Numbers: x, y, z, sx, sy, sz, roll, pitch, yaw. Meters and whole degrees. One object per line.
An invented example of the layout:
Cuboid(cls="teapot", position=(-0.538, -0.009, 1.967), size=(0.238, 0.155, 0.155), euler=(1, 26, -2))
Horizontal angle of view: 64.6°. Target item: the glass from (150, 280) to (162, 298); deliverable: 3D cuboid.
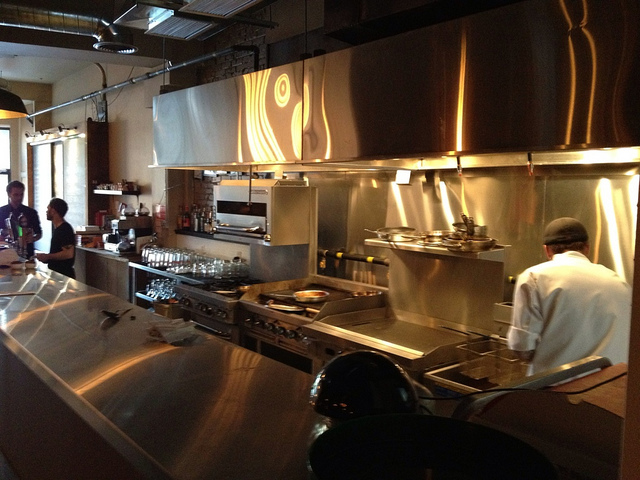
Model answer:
Cuboid(cls="glass", position=(-1.807, 0.542, 5.580), size=(0.114, 0.166, 0.181), euler=(-7, 10, -41))

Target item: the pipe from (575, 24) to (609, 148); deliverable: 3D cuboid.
Cuboid(cls="pipe", position=(1.166, -0.660, 2.142), size=(0.012, 0.501, 0.132), euler=(-6, 10, -40))

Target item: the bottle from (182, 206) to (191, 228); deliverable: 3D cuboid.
Cuboid(cls="bottle", position=(-1.743, -0.307, 6.626), size=(0.104, 0.267, 0.175), euler=(-2, 8, -14))

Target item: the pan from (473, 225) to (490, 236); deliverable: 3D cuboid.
Cuboid(cls="pan", position=(1.026, -0.060, 3.207), size=(0.079, 0.066, 0.087), euler=(6, 10, 35))

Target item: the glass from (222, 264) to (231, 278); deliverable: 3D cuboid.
Cuboid(cls="glass", position=(-0.957, 0.313, 5.203), size=(0.111, 0.111, 0.114), euler=(0, 2, 8))

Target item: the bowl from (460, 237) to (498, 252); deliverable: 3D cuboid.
Cuboid(cls="bowl", position=(0.991, 0.022, 3.100), size=(0.263, 0.076, 0.098), euler=(-3, 8, -18))

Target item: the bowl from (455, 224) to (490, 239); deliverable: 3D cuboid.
Cuboid(cls="bowl", position=(0.952, -0.048, 3.177), size=(0.191, 0.077, 0.171), euler=(2, 8, 15))

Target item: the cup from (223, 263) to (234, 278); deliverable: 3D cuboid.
Cuboid(cls="cup", position=(-0.945, 0.310, 5.213), size=(0.116, 0.130, 0.116), euler=(-1, -4, 0))

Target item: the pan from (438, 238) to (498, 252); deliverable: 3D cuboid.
Cuboid(cls="pan", position=(0.916, 0.024, 3.122), size=(0.340, 0.066, 0.204), euler=(2, 8, 16))

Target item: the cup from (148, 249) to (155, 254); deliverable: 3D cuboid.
Cuboid(cls="cup", position=(-2.078, 0.136, 6.264), size=(0.074, 0.077, 0.040), euler=(-1, -21, -6))

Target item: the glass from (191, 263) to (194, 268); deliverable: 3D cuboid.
Cuboid(cls="glass", position=(-1.432, 0.288, 5.683), size=(0.022, 0.041, 0.040), euler=(-4, 5, -25))

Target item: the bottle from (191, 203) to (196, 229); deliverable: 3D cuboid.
Cuboid(cls="bottle", position=(-1.633, -0.324, 6.549), size=(0.064, 0.299, 0.283), euler=(-2, 8, -15))

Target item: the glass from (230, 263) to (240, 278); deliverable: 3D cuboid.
Cuboid(cls="glass", position=(-0.873, 0.304, 5.244), size=(0.104, 0.203, 0.106), euler=(-1, -4, 16))

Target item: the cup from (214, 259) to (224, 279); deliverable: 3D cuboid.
Cuboid(cls="cup", position=(-1.052, 0.306, 5.278), size=(0.117, 0.207, 0.120), euler=(2, 3, 0))

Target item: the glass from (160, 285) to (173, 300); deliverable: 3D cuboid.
Cuboid(cls="glass", position=(-1.630, 0.554, 5.381), size=(0.093, 0.149, 0.219), euler=(-4, 9, -25))

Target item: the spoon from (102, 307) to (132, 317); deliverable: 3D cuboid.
Cuboid(cls="spoon", position=(-1.290, 0.450, 3.223), size=(0.116, 0.034, 0.256), euler=(0, 8, 2))

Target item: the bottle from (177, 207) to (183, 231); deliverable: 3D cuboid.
Cuboid(cls="bottle", position=(-1.826, -0.278, 6.618), size=(0.073, 0.296, 0.144), euler=(-2, 8, -16))

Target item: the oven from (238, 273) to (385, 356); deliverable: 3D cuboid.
Cuboid(cls="oven", position=(-0.079, 0.568, 4.172), size=(0.927, 0.422, 1.068), euler=(-7, 11, -40))

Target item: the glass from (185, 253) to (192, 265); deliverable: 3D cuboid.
Cuboid(cls="glass", position=(-1.544, 0.218, 5.961), size=(0.094, 0.180, 0.096), euler=(-4, -5, 30))

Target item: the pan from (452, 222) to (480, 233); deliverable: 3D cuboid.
Cuboid(cls="pan", position=(0.953, -0.088, 3.369), size=(0.106, 0.047, 0.092), euler=(-3, 1, 42))

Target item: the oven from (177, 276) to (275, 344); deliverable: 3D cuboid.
Cuboid(cls="oven", position=(-0.819, 0.461, 4.478), size=(0.497, 0.714, 0.702), euler=(1, 0, -37))

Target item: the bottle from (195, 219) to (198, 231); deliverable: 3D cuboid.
Cuboid(cls="bottle", position=(-1.562, -0.194, 6.386), size=(0.023, 0.144, 0.062), euler=(-6, 10, -38))

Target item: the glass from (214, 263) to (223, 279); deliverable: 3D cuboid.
Cuboid(cls="glass", position=(-1.045, 0.313, 5.230), size=(0.114, 0.134, 0.116), euler=(0, 7, -18))

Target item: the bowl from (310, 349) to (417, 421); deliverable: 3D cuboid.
Cuboid(cls="bowl", position=(0.163, 0.516, 1.656), size=(0.335, 0.285, 0.313), euler=(-1, -17, 0))
